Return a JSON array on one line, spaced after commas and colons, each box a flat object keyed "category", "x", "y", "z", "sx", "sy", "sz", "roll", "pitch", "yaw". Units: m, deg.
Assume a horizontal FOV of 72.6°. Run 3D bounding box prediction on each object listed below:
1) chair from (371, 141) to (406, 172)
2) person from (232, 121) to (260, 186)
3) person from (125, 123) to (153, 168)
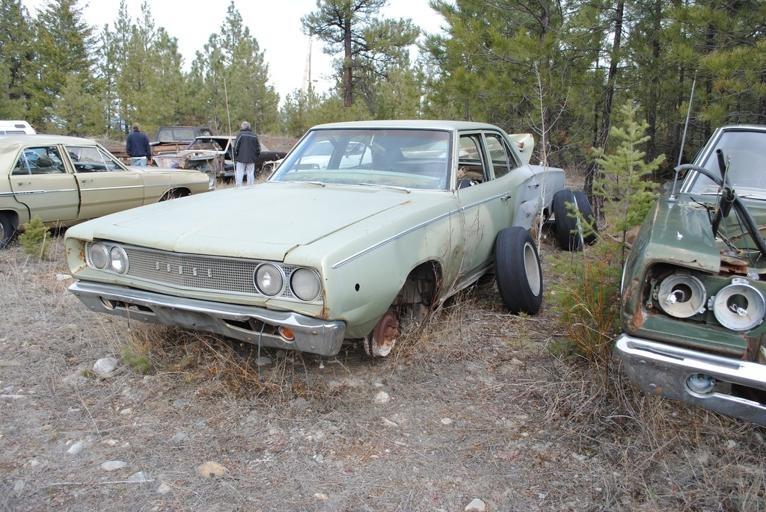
[{"category": "chair", "x": 0.036, "y": -0.991, "z": 5.159, "sx": 0.384, "sy": 0.233, "sz": 0.230, "roll": 4, "pitch": 19, "yaw": 15}, {"category": "person", "x": -3.138, "y": -2.314, "z": 12.029, "sx": 0.644, "sy": 1.580, "sz": 2.766, "roll": -6, "pitch": 20, "yaw": -15}, {"category": "person", "x": -5.860, "y": -2.609, "z": 12.438, "sx": 0.542, "sy": 1.037, "sz": 1.421, "roll": -9, "pitch": 21, "yaw": -23}]
